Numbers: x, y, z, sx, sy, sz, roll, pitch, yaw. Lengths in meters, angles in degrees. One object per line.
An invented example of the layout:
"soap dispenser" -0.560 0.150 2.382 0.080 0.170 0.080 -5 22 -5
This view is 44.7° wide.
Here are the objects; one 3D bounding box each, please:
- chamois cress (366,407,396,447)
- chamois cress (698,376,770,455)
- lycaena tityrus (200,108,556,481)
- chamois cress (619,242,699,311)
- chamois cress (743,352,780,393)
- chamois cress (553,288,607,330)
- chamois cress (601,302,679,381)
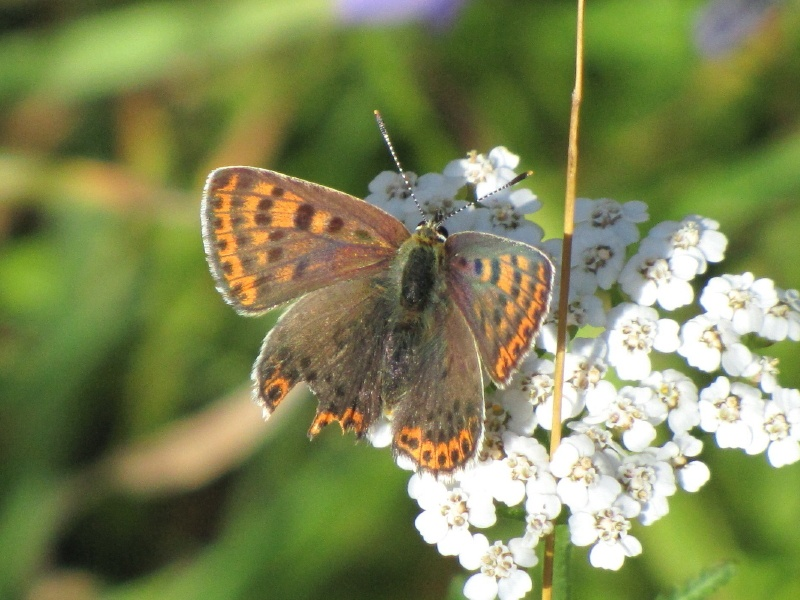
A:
"chamois cress" -0.098 0.668 5.114 0.202 0.071 0.186 11 90 20
"chamois cress" 1.715 0.600 5.029 0.314 0.133 0.387 -18 84 -5
"lycaena tityrus" -0.108 0.079 5.080 1.108 1.292 2.386 8 105 41
"chamois cress" 1.375 -0.113 5.183 0.331 0.341 0.333 1 109 9
"chamois cress" 1.923 0.379 5.217 0.196 0.067 0.205 42 72 -4
"chamois cress" 0.994 0.052 5.188 0.195 0.057 0.184 -2 82 3
"chamois cress" 1.237 0.192 5.097 0.359 0.130 0.393 37 82 9
